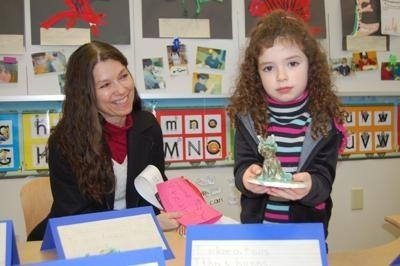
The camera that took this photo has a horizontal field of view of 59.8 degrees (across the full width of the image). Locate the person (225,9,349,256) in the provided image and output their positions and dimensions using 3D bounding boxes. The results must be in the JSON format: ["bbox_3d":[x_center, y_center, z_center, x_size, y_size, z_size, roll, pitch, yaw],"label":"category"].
[{"bbox_3d":[0.417,-0.048,1.666,0.545,1.115,0.476,-4,6,5],"label":"person"}]

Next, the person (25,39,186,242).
[{"bbox_3d":[-0.565,-0.039,2.069,0.710,0.998,0.289,-7,6,-25],"label":"person"}]
